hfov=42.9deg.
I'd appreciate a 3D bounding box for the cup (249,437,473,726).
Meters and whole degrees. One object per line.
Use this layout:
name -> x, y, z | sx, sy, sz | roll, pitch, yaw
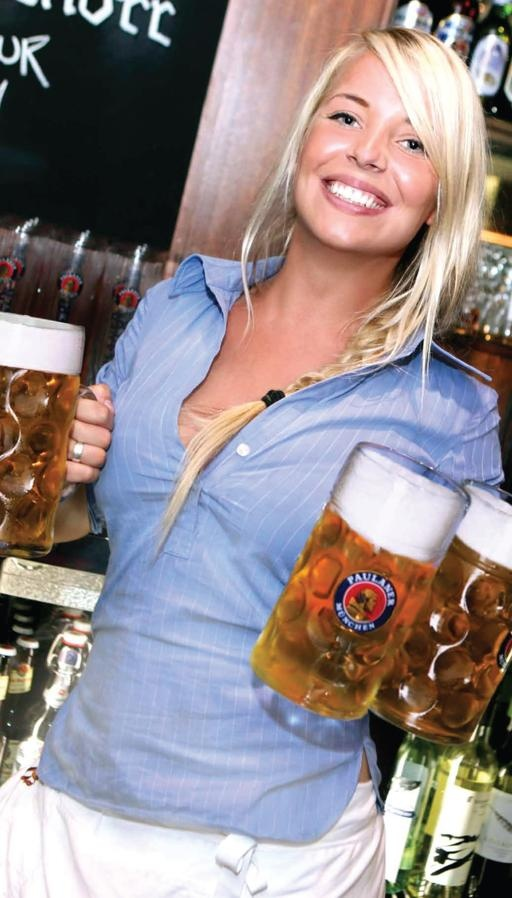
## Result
cup -> 0.058, 0.084, 0.408 | 0.089, 0.170, 0.070 | 24, 22, 19
